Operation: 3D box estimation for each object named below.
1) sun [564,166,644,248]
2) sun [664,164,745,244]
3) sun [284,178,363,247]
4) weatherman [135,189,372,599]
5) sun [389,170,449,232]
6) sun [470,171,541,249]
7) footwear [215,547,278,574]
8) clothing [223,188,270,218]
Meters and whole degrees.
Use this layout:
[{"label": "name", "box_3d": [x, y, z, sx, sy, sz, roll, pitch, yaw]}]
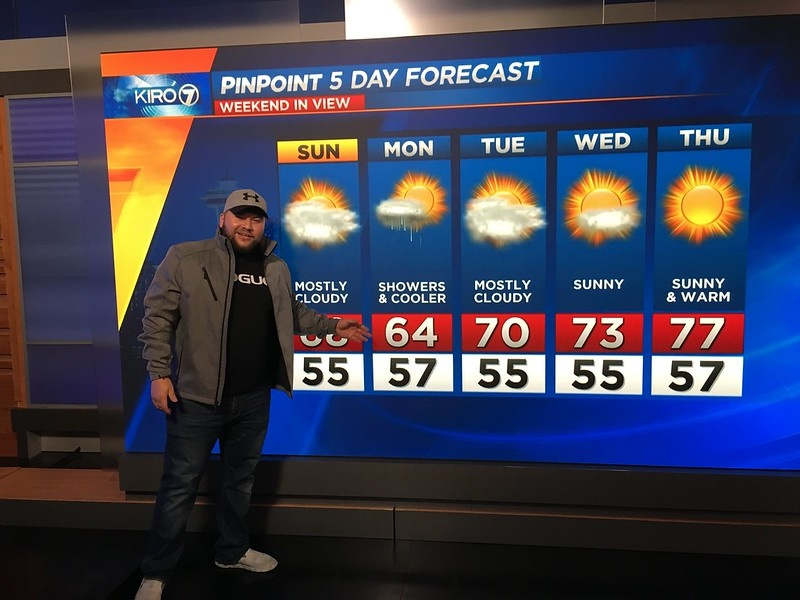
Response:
[{"label": "sun", "box_3d": [1.034, -0.469, 3.882, 0.376, 0.359, 0.010, 3, 3, 6]}, {"label": "sun", "box_3d": [1.537, -0.472, 3.833, 0.358, 0.365, 0.021, 3, 3, 3]}, {"label": "sun", "box_3d": [-0.412, -0.458, 4.021, 0.379, 0.358, 0.117, -21, 4, 4]}, {"label": "weatherman", "box_3d": [-0.775, 0.419, 3.890, 0.801, 1.888, 0.791, -1, 1, 1]}, {"label": "sun", "box_3d": [0.097, -0.531, 3.968, 0.299, 0.278, 0.077, 22, 6, -3]}, {"label": "sun", "box_3d": [0.545, -0.459, 3.936, 0.397, 0.355, 0.029, 3, 3, 2]}, {"label": "footwear", "box_3d": [-0.782, 1.299, 3.847, 0.321, 0.119, 0.112, 0, -4, -1]}, {"label": "clothing", "box_3d": [-0.727, -0.447, 3.597, 0.138, 0.100, 0.183, 2, 1, -30]}]
